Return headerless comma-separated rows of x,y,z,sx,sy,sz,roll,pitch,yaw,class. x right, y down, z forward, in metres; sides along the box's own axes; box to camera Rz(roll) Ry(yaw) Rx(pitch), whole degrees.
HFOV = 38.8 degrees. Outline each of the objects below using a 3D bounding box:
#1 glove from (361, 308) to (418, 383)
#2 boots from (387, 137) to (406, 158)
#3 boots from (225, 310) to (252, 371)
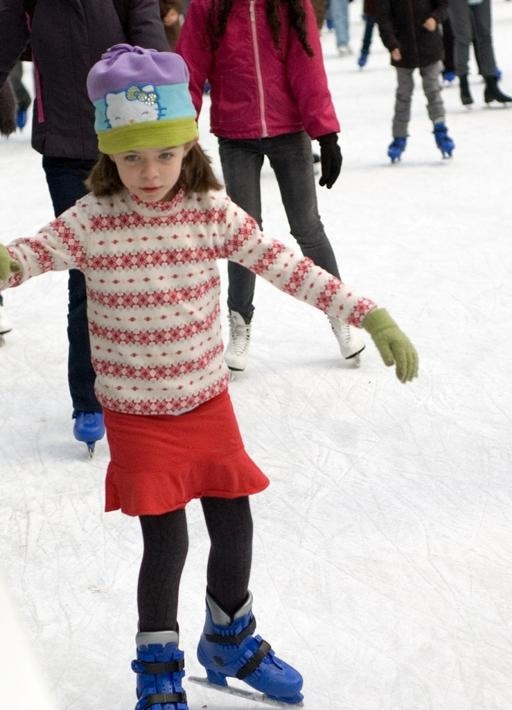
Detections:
0.255,-0.020,1.403,0.096,0.145,0.062,-36,-14,-1,glove
1.292,-1.875,6.622,0.139,0.195,0.080,15,25,2,boots
-0.092,-0.066,3.396,0.104,0.282,0.183,0,-21,-4,boots
